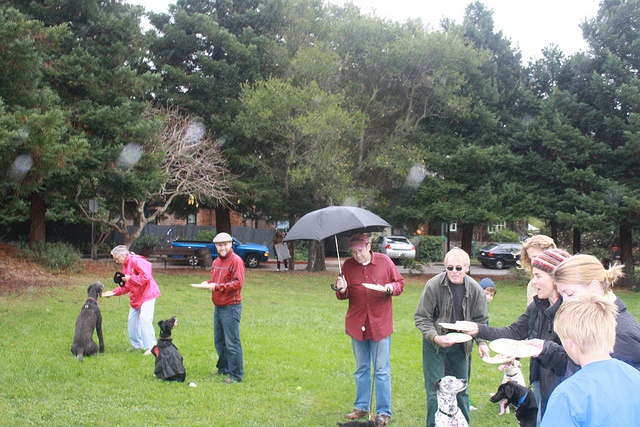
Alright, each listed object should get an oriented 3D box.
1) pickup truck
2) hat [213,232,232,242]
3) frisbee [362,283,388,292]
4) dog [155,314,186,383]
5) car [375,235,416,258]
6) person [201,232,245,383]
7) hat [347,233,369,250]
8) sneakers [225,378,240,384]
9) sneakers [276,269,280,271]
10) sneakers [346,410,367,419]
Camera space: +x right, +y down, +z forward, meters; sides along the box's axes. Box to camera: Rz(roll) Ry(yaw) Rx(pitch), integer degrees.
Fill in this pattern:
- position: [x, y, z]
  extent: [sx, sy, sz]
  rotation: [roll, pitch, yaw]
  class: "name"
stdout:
- position: [-5.471, 2.712, 32.308]
  extent: [4.995, 1.913, 2.291]
  rotation: [-2, 1, -12]
  class: "pickup truck"
- position: [-2.482, 0.608, 14.464]
  extent: [0.395, 0.257, 0.427]
  rotation: [4, 11, 4]
  class: "hat"
- position: [1.288, 1.750, 13.242]
  extent: [0.571, 0.268, 0.407]
  rotation: [3, 11, -2]
  class: "frisbee"
- position: [-3.874, 3.473, 14.450]
  extent: [0.852, 1.681, 0.466]
  rotation: [1, 12, -10]
  class: "dog"
- position: [5.034, 2.299, 37.350]
  extent: [1.279, 1.048, 2.985]
  rotation: [0, 3, -3]
  class: "car"
- position: [-2.376, 2.436, 14.421]
  extent: [0.970, 3.807, 0.693]
  rotation: [10, 13, 31]
  class: "person"
- position: [0.946, 0.695, 13.478]
  extent: [0.474, 0.443, 0.333]
  rotation: [4, 11, 5]
  class: "hat"
- position: [-2.265, 4.329, 14.515]
  extent: [0.229, 0.096, 0.171]
  rotation: [2, -6, 7]
  class: "sneakers"
- position: [-2.288, 3.100, 30.822]
  extent: [0.090, 0.117, 0.209]
  rotation: [15, -12, 10]
  class: "sneakers"
- position: [0.869, 4.800, 13.357]
  extent: [0.493, 0.252, 0.220]
  rotation: [3, -5, 1]
  class: "sneakers"
